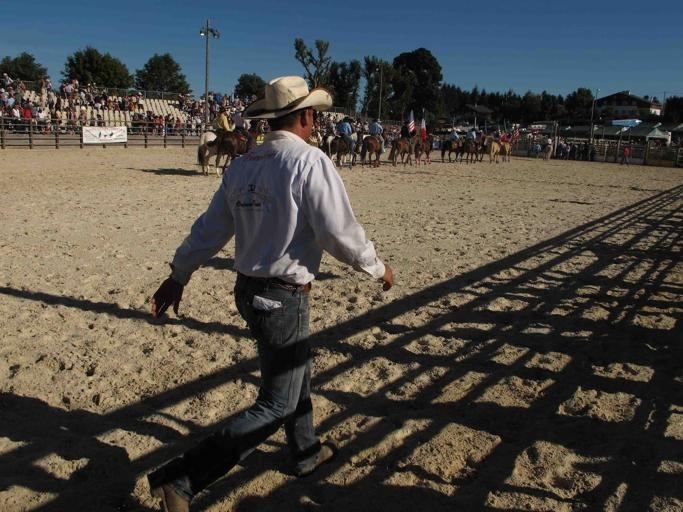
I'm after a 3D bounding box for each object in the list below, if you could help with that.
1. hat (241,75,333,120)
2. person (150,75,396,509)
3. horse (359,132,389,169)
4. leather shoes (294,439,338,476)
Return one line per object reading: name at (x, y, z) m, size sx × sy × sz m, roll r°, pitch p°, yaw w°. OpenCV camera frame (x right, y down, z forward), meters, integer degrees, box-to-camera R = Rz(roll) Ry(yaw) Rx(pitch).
hat at (-0.293, -0.897, 2.837) m, size 0.447 × 0.215 × 0.551 m, roll 5°, pitch 21°, yaw 32°
person at (-0.464, 0.188, 2.830) m, size 1.211 × 2.298 × 0.668 m, roll -5°, pitch 15°, yaw -26°
horse at (1.447, -4.753, 22.275) m, size 0.607 × 1.552 × 2.707 m, roll 8°, pitch 14°, yaw 26°
leather shoes at (-0.144, 1.213, 3.164) m, size 0.114 × 0.139 × 0.320 m, roll 18°, pitch 21°, yaw 34°
